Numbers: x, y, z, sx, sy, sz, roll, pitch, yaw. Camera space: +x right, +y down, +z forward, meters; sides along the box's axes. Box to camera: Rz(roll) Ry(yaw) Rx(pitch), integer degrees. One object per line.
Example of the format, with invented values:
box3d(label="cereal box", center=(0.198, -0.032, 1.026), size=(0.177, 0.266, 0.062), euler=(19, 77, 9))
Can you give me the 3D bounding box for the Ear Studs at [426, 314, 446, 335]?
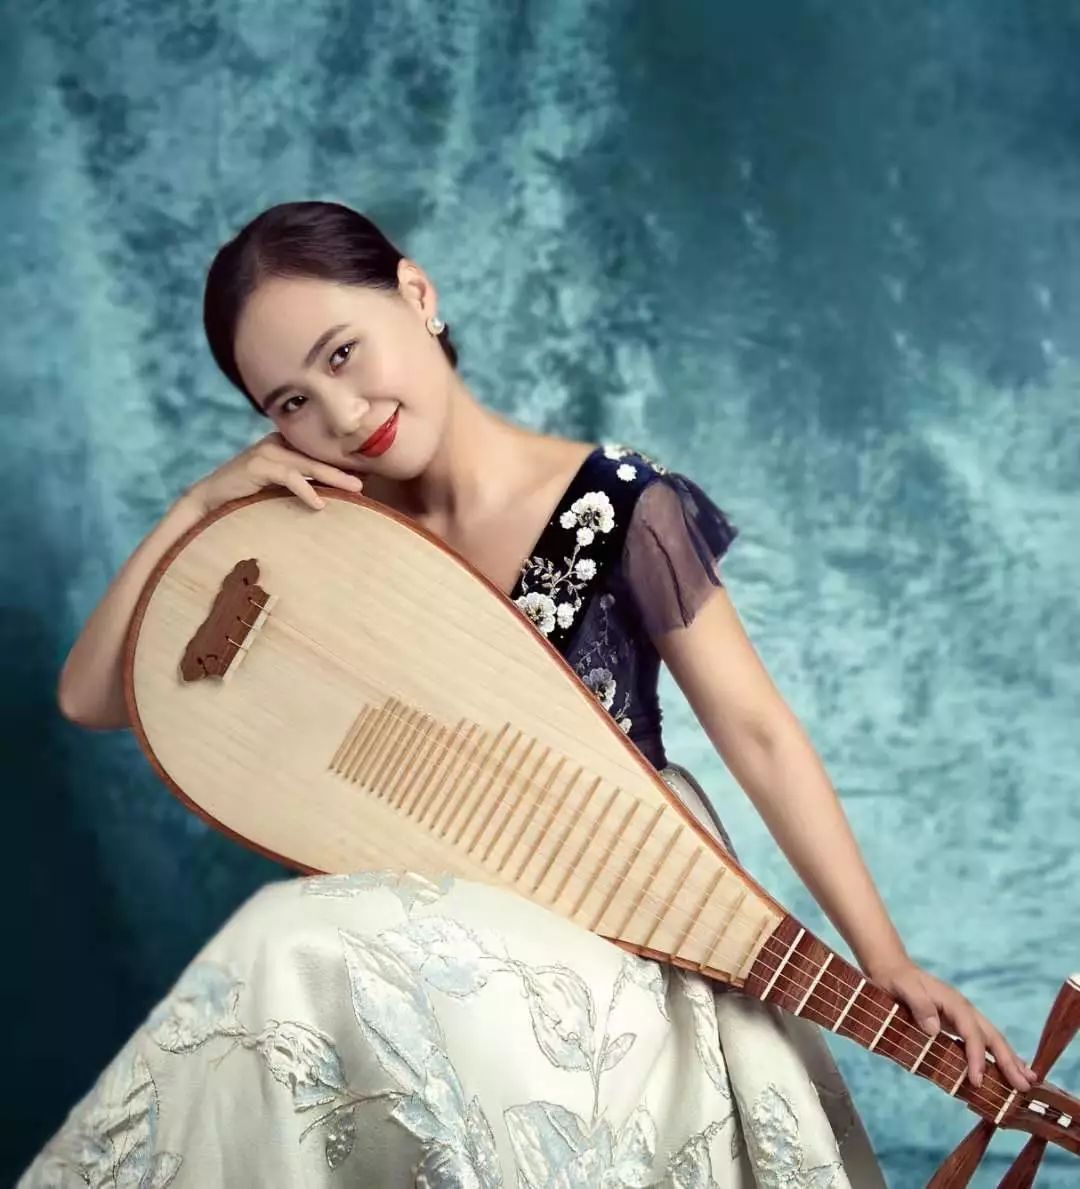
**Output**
box3d(label="Ear Studs", center=(-0.124, -0.314, 1.688), size=(0.025, 0.024, 0.008), euler=(13, -29, -22))
